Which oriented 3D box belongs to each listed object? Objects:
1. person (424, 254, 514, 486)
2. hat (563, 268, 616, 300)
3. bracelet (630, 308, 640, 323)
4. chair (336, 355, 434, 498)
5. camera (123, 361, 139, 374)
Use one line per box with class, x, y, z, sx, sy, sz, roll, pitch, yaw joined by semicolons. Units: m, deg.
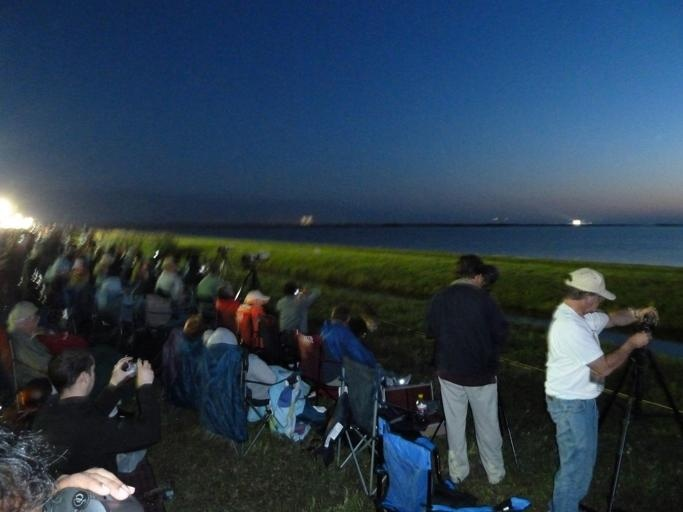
person;1.757;1.569;6.481;1.030;3.116;1.018;0;10;17
hat;2.865;0.359;5.388;0.463;0.277;0.344;17;8;-5
bracelet;3.588;0.728;5.728;0.053;0.166;0.140;-15;-4;17
chair;0.567;2.187;5.823;1.077;1.692;1.063;-1;-16;26
camera;-2.382;1.309;5.432;0.181;0.166;0.159;1;-1;8
